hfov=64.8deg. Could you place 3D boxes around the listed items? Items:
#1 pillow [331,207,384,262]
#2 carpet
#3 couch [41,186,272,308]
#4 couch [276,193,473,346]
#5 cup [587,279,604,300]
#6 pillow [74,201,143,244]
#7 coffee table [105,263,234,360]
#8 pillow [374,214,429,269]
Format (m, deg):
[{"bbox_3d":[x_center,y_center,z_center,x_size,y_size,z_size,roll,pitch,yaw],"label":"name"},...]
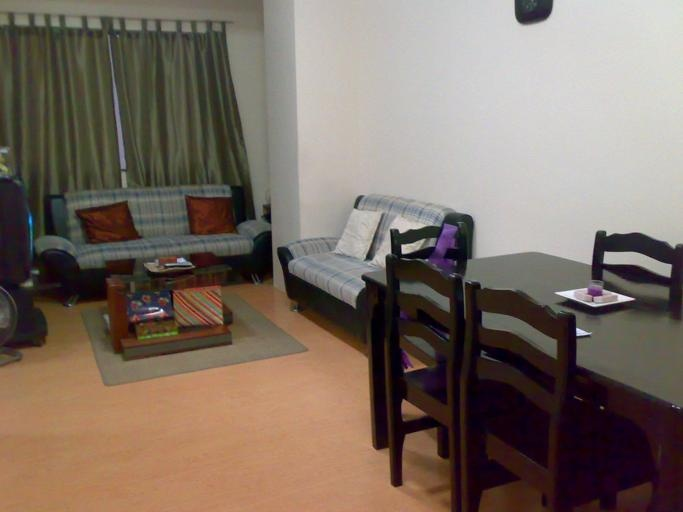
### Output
[{"bbox_3d":[0.152,-0.195,4.741,0.125,0.424,0.421,20,-3,-35],"label":"pillow"},{"bbox_3d":[-1.235,0.625,4.384,1.608,0.030,1.474,-6,16,-21],"label":"carpet"},{"bbox_3d":[-1.915,-0.160,5.920,2.396,1.259,1.100,-7,9,-31],"label":"couch"},{"bbox_3d":[0.207,0.107,4.626,0.942,1.250,1.693,-1,11,-29],"label":"couch"},{"bbox_3d":[1.114,0.154,2.373,0.068,0.089,0.074,1,-1,0],"label":"cup"},{"bbox_3d":[-2.417,-0.340,5.592,0.552,0.359,0.300,-11,18,-36],"label":"pillow"},{"bbox_3d":[-1.414,0.517,4.357,1.055,0.572,1.051,-7,-3,44],"label":"coffee table"},{"bbox_3d":[0.470,-0.103,4.332,0.119,0.435,0.427,10,1,-16],"label":"pillow"}]
